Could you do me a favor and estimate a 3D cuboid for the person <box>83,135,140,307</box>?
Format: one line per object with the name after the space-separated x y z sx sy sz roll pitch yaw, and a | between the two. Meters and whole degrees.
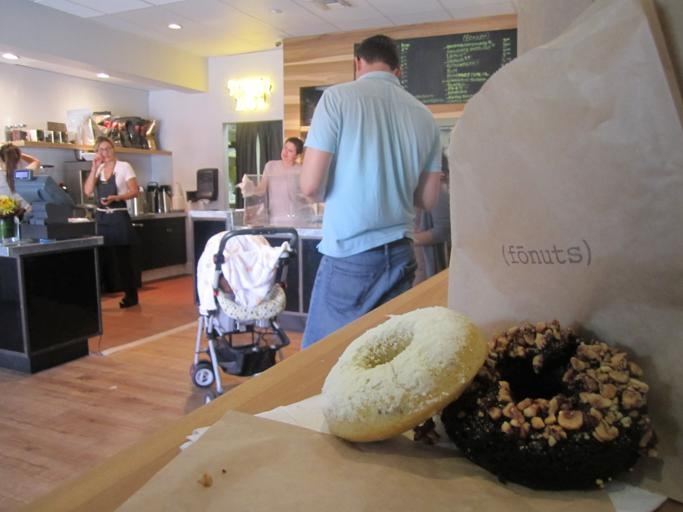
-2.264 -0.333 5.395 0.464 1.623 0.804 -7 8 -25 | person

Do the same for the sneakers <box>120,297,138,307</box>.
-2.074 0.450 5.234 0.168 0.088 0.186 -6 8 -15 | sneakers

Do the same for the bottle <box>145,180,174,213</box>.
-2.412 -0.726 6.932 0.242 0.467 0.445 3 4 43 | bottle

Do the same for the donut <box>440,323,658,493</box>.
0.196 0.132 0.514 0.162 0.060 0.171 1 36 24 | donut

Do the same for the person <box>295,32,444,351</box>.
0.079 -0.251 1.869 0.305 1.032 0.639 3 10 39 | person
